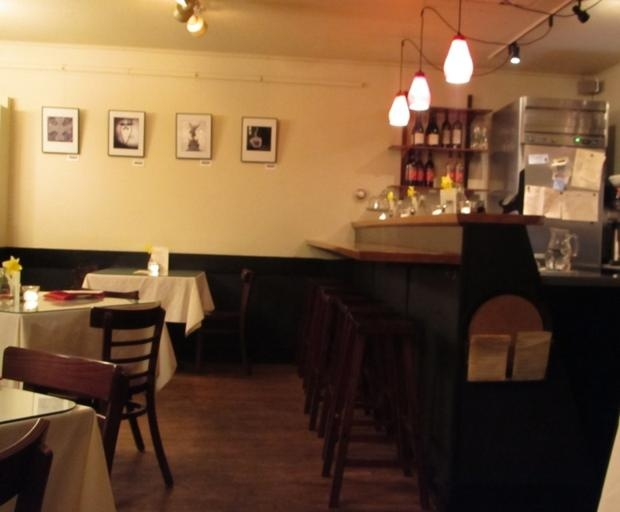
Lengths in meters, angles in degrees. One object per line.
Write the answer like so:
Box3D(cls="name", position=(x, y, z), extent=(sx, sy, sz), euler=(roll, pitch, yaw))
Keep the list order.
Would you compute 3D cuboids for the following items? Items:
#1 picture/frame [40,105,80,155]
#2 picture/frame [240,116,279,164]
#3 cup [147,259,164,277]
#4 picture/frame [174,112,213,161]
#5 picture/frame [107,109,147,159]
Box3D(cls="picture/frame", position=(-2.418, -1.192, 5.457), extent=(0.338, 0.478, 0.008), euler=(-6, 42, -31))
Box3D(cls="picture/frame", position=(-0.519, -1.139, 5.575), extent=(0.398, 0.533, 0.048), euler=(1, 1, -4))
Box3D(cls="cup", position=(-1.329, 0.111, 4.851), extent=(0.121, 0.158, 0.129), euler=(-1, 5, 0))
Box3D(cls="picture/frame", position=(-1.149, -1.171, 5.534), extent=(0.394, 0.547, 0.017), euler=(0, 7, -1))
Box3D(cls="picture/frame", position=(-1.795, -1.184, 5.497), extent=(0.383, 0.545, 0.034), euler=(1, 8, -1))
